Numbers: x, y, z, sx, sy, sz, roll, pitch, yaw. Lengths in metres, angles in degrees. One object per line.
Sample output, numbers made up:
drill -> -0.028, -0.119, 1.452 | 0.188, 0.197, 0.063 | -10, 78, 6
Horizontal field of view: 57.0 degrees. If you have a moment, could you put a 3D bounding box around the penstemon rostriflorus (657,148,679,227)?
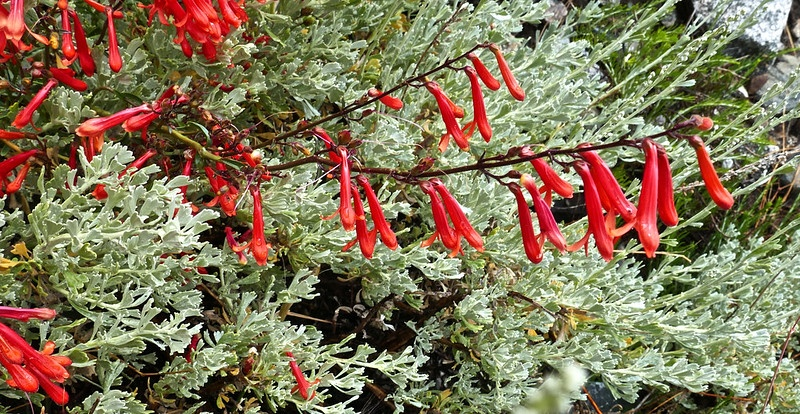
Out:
penstemon rostriflorus -> 1.165, -0.084, 3.288 | 0.096, 0.343, 0.099 | -5, 1, 14

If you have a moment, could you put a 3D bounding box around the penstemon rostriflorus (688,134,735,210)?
penstemon rostriflorus -> 1.369, -0.135, 3.257 | 0.371, 0.097, 0.101 | 58, 34, 0
